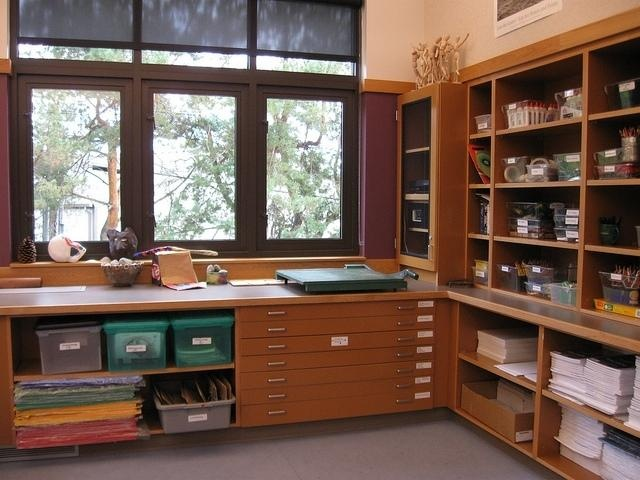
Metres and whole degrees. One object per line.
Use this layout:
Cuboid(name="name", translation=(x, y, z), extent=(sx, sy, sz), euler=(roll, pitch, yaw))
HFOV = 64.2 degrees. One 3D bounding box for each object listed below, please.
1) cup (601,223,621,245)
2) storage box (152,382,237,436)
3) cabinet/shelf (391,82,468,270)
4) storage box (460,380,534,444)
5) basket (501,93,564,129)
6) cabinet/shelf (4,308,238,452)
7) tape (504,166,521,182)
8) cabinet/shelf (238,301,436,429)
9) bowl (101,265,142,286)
Cuboid(name="cup", translation=(1.710, -0.045, 3.010), extent=(0.100, 0.158, 0.067), euler=(0, 8, -4))
Cuboid(name="storage box", translation=(-0.838, 1.082, 3.436), extent=(0.375, 0.176, 0.435), euler=(1, -3, -21))
Cuboid(name="cabinet/shelf", translation=(0.838, -0.484, 4.030), extent=(0.283, 1.419, 0.662), euler=(-6, 10, -38))
Cuboid(name="storage box", translation=(1.228, 1.121, 3.402), extent=(0.269, 0.128, 0.383), euler=(-3, 8, -22))
Cuboid(name="basket", translation=(1.422, -0.859, 3.442), extent=(0.207, 0.139, 0.282), euler=(0, -2, -31))
Cuboid(name="cabinet/shelf", translation=(-1.240, 0.887, 3.407), extent=(1.334, 0.798, 0.608), euler=(-1, 8, -8))
Cuboid(name="tape", translation=(1.325, -0.449, 3.528), extent=(0.023, 0.100, 0.099), euler=(-1, 5, -39))
Cuboid(name="cabinet/shelf", translation=(0.058, 0.838, 3.477), extent=(0.927, 0.547, 0.333), euler=(0, -1, -14))
Cuboid(name="bowl", translation=(-1.405, 0.250, 3.624), extent=(0.193, 0.107, 0.190), euler=(1, -4, 0))
